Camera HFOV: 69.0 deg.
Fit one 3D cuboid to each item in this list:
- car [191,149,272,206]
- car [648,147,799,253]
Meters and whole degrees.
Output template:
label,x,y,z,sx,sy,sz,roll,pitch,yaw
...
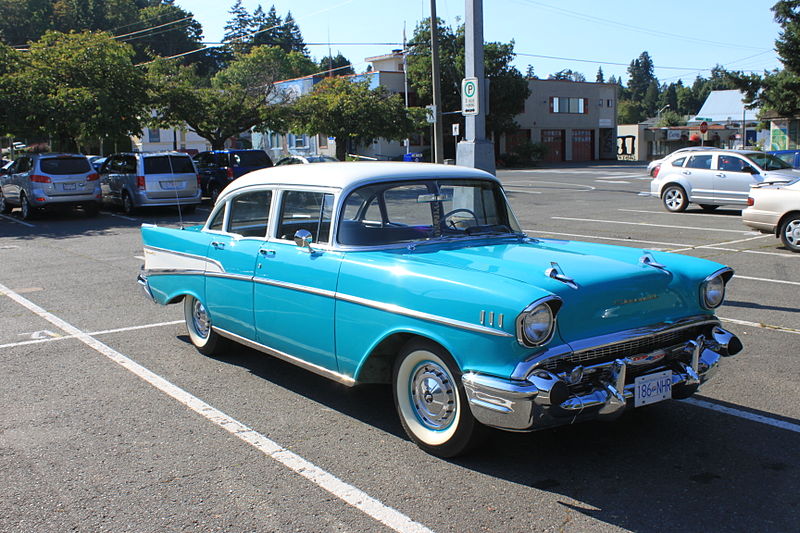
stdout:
label,x,y,z,sx,sy,sz,roll,pitch,yaw
car,-6.836,-3.674,23.750,2.210,1.814,4.496,-10,17,-41
car,10.627,-2.943,19.294,4.089,1.683,1.904,2,7,41
